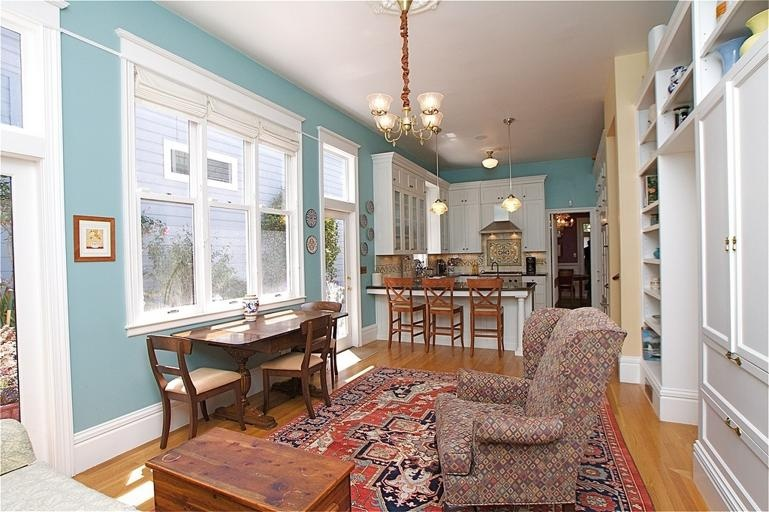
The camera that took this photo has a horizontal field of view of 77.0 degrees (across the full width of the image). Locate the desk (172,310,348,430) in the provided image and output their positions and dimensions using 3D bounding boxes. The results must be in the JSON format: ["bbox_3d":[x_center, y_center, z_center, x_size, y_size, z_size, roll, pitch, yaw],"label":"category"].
[{"bbox_3d":[-1.287,0.864,4.805,0.977,0.896,1.927,3,3,28],"label":"desk"}]

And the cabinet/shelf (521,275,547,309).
[{"bbox_3d":[2.996,0.687,9.593,0.468,0.424,0.254,-3,1,18],"label":"cabinet/shelf"}]

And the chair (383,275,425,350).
[{"bbox_3d":[0.320,0.830,7.303,0.590,0.802,0.844,-3,0,0],"label":"chair"}]

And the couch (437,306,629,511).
[{"bbox_3d":[0.986,1.080,4.305,1.568,1.890,1.551,0,-3,7],"label":"couch"}]

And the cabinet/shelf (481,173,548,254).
[{"bbox_3d":[2.716,-0.900,9.897,1.784,1.980,0.764,-1,-2,27],"label":"cabinet/shelf"}]

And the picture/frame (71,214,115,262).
[{"bbox_3d":[-2.535,-0.156,4.168,0.058,0.547,0.433,0,-2,37],"label":"picture/frame"}]
